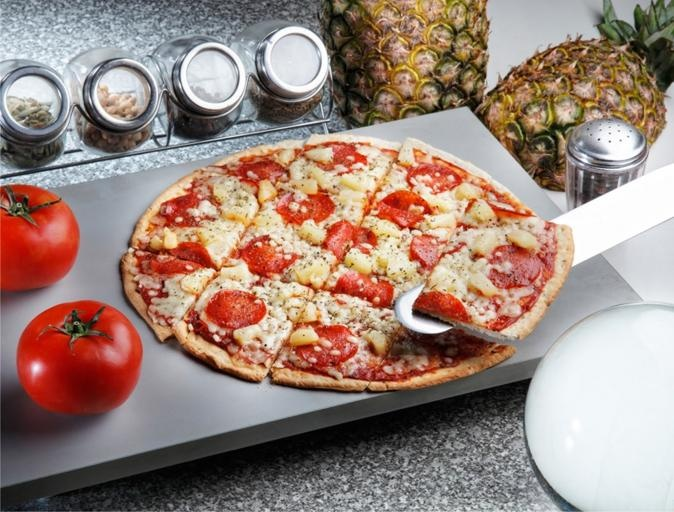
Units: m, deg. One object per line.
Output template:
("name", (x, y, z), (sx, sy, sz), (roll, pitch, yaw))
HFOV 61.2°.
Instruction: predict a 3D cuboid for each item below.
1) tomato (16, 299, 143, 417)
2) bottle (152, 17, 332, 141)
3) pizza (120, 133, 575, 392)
("tomato", (-0.430, 0.180, 0.968), (0.200, 0.136, 0.177), (-2, 22, -15))
("bottle", (-0.197, -0.434, 1.393), (0.452, 0.159, 0.250), (-11, 90, -16))
("pizza", (0.003, -0.069, 1.194), (0.897, 0.192, 0.715), (5, 52, 3))
